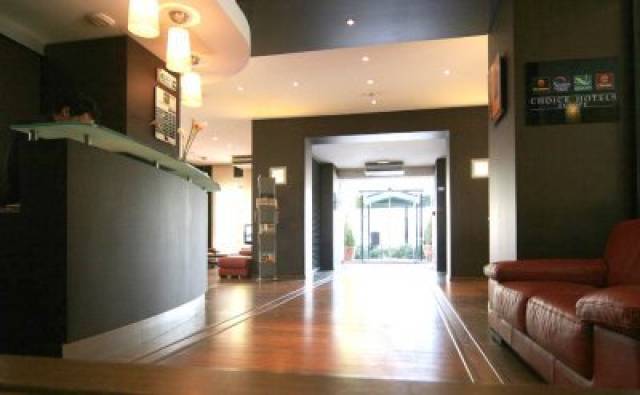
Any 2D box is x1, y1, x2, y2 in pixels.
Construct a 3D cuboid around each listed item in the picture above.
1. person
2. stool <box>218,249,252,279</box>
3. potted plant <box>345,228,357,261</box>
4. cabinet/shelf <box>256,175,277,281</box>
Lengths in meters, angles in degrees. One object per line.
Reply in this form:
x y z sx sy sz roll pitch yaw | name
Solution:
-2.678 -0.501 4.470 0.564 0.959 1.085 1 -1 6 | person
-1.853 1.516 10.221 0.688 0.323 0.335 1 -1 -8 | stool
1.033 1.670 16.550 0.366 1.162 0.329 1 0 -8 | potted plant
-1.122 0.614 9.888 0.460 2.156 0.690 1 0 -8 | cabinet/shelf
